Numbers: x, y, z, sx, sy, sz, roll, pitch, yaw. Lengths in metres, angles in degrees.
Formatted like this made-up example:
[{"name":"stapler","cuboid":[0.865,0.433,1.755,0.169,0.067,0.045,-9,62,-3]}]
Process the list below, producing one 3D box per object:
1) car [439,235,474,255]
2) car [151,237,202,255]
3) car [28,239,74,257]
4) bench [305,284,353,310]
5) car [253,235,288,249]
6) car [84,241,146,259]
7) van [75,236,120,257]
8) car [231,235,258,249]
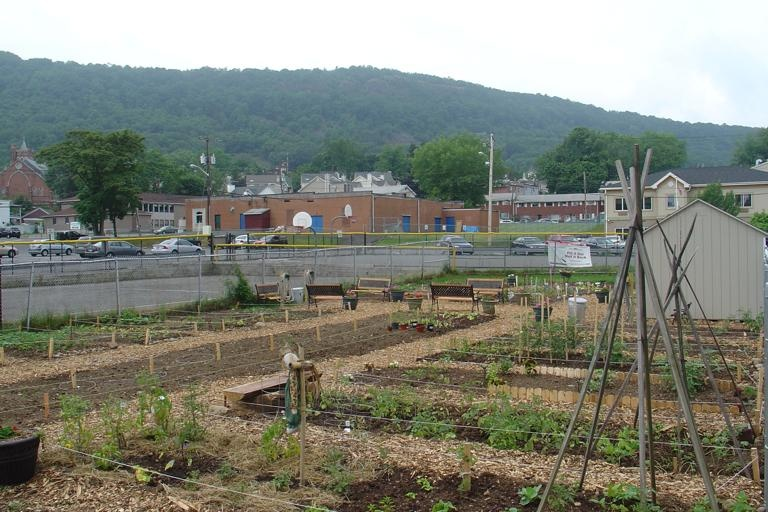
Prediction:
[{"name":"car","cuboid":[4.371,-0.691,48.736,1.074,0.810,2.357,-1,-2,-15]},{"name":"car","cuboid":[-12.713,-0.608,50.933,2.065,0.872,3.333,3,5,35]},{"name":"car","cuboid":[-18.981,-0.427,47.416,1.896,0.748,1.030,-4,6,-28]},{"name":"bench","cuboid":[-1.818,1.275,27.500,1.474,0.832,2.399,-2,5,-20]},{"name":"car","cuboid":[-7.020,-0.888,51.555,1.104,0.749,2.213,-2,-5,26]},{"name":"car","cuboid":[-15.654,-0.355,47.887,2.038,0.626,0.902,-7,9,-39]},{"name":"van","cuboid":[-15.854,-0.478,46.013,1.081,0.739,2.438,2,8,21]},{"name":"car","cuboid":[-8.742,-0.905,52.006,0.914,0.680,2.000,1,10,-1]}]
